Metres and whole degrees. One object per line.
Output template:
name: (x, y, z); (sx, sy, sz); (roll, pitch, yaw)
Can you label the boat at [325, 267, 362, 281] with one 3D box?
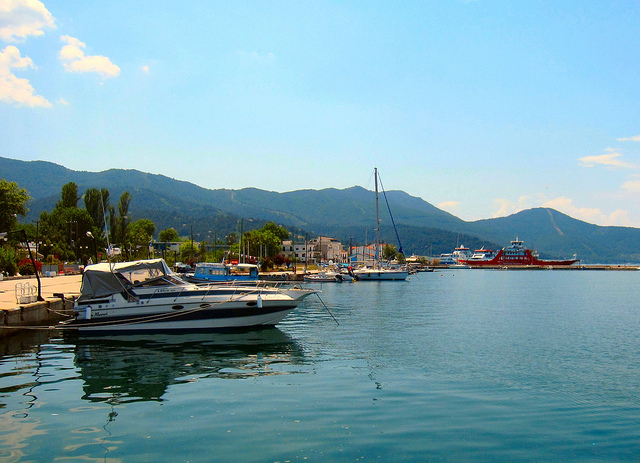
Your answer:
boat: (4.202, 8.697, 114.981); (8.589, 2.317, 2.416); (-1, 3, -8)
